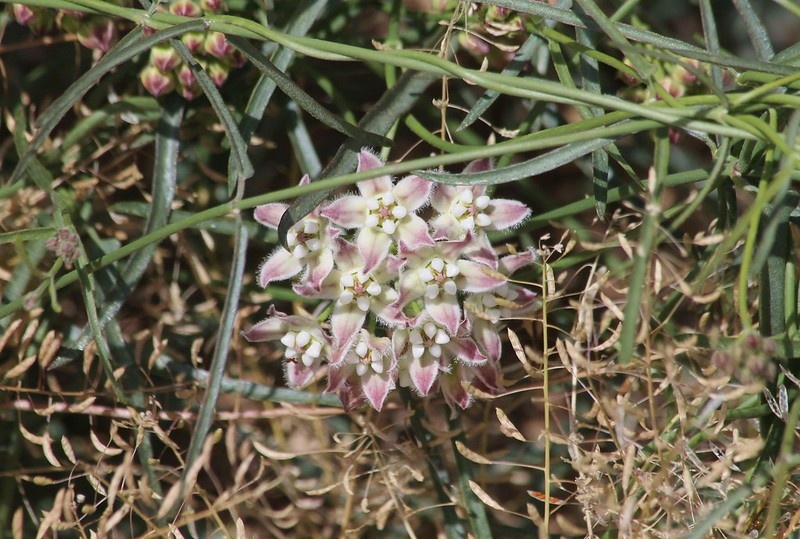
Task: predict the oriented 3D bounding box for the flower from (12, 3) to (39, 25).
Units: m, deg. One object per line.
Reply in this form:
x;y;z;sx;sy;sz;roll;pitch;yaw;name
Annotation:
-0.676;-0.457;1.602;0.036;0.031;0.040;20;80;-22;flower

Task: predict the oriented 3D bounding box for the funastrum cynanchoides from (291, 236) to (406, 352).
-0.076;0.059;1.438;0.154;0.072;0.184;11;80;0;funastrum cynanchoides

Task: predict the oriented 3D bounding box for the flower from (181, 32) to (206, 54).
-0.369;-0.406;1.592;0.035;0.040;0.035;38;56;-51;flower

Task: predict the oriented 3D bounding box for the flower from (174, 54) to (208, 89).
-0.388;-0.357;1.611;0.045;0.034;0.060;1;82;-7;flower

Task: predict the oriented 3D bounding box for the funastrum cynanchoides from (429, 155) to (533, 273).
0.122;-0.093;1.562;0.168;0.071;0.188;-29;95;-7;funastrum cynanchoides

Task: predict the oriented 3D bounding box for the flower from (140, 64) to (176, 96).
-0.443;-0.341;1.627;0.057;0.057;0.057;6;62;-23;flower

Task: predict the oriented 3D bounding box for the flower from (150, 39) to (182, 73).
-0.425;-0.381;1.602;0.046;0.046;0.046;-14;79;-31;flower

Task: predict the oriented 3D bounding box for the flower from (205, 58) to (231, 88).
-0.337;-0.361;1.633;0.032;0.034;0.044;-39;108;11;flower

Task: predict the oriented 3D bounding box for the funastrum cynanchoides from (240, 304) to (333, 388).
-0.154;0.121;1.569;0.192;0.076;0.167;16;16;22;funastrum cynanchoides

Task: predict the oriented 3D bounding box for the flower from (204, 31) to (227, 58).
-0.328;-0.400;1.586;0.036;0.028;0.046;-36;92;-17;flower

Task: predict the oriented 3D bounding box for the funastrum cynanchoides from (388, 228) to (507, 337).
0.074;0.016;1.485;0.172;0.072;0.165;-22;111;1;funastrum cynanchoides

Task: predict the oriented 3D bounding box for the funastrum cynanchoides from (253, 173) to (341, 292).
-0.160;-0.069;1.541;0.068;0.167;0.184;-20;102;-58;funastrum cynanchoides

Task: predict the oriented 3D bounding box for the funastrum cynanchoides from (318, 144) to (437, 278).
-0.027;-0.080;1.490;0.192;0.081;0.141;-14;67;-21;funastrum cynanchoides

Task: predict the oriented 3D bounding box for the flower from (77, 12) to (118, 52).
-0.557;-0.433;1.637;0.057;0.043;0.071;-31;99;-6;flower
